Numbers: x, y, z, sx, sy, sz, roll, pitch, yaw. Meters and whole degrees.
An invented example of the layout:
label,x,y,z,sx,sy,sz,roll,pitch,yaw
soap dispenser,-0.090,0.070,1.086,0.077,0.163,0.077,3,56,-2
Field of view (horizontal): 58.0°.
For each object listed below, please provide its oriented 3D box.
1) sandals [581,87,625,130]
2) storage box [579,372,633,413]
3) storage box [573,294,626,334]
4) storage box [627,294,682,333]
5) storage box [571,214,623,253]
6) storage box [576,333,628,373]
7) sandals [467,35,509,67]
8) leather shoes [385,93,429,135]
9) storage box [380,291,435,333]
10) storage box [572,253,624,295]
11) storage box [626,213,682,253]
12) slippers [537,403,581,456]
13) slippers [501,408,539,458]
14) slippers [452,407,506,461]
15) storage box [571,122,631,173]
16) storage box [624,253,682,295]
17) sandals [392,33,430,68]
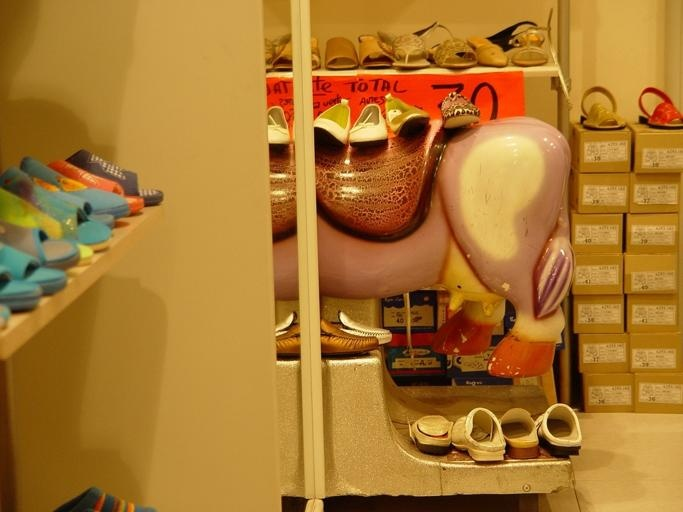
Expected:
label,x,y,z,sx,sy,sz,roll,pitch,yaw
sandals,1.038,-0.580,2.431,0.135,0.121,0.198,-7,34,8
storage box,1.014,0.519,2.343,0.147,0.125,0.157,-1,0,4
storage box,0.975,0.222,2.329,0.149,0.123,0.156,0,2,6
storage box,1.176,0.213,2.315,0.223,0.174,0.127,0,-1,4
storage box,0.949,-0.089,2.288,0.149,0.101,0.152,0,23,6
storage box,0.998,0.369,2.336,0.147,0.122,0.152,0,-1,7
sandals,0.494,-0.669,2.093,0.072,0.047,0.177,-21,47,-5
leather shoes,0.172,-0.387,1.663,0.063,0.071,0.161,-29,26,0
storage box,0.244,0.190,2.311,0.236,0.232,0.130,-1,-2,5
storage box,0.958,0.069,2.307,0.176,0.197,0.139,-1,2,2
storage box,1.154,-0.083,2.277,0.216,0.176,0.124,0,2,4
slippers,0.611,0.484,1.765,0.077,0.091,0.218,-3,8,2
slippers,0.509,0.502,1.740,0.054,0.067,0.176,-1,6,5
slippers,0.372,0.477,1.684,0.083,0.088,0.173,-2,9,-2
storage box,0.969,-0.394,2.280,0.212,0.155,0.173,5,36,13
storage box,1.160,0.061,2.286,0.215,0.174,0.125,0,0,3
sandals,0.222,-0.649,1.978,0.073,0.075,0.128,0,2,3
